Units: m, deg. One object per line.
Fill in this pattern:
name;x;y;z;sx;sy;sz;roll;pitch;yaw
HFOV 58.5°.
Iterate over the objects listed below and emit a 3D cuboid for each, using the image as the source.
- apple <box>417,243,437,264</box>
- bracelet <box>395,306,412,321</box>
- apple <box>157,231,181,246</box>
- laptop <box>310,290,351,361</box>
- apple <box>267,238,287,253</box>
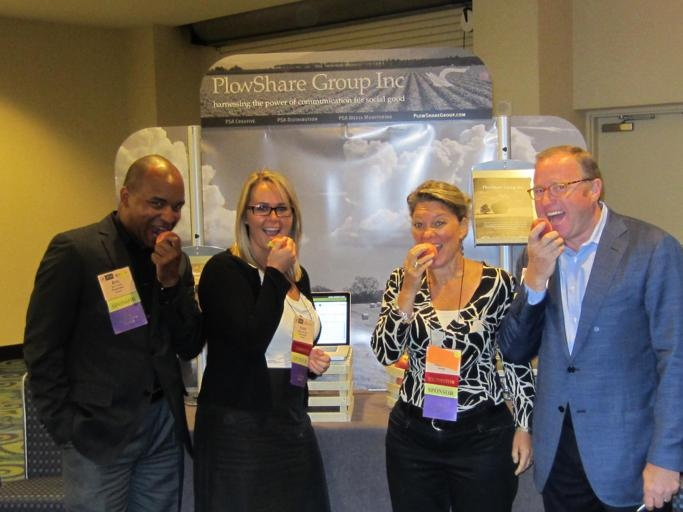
apple;0.354;-0.012;2.493;0.066;0.061;0.065;-3;-12;8
bracelet;0.259;0.243;2.526;0.046;0.057;0.053;10;-33;-35
apple;-0.721;-0.076;2.520;0.093;0.046;0.107;-3;6;-17
laptop;-0.042;0.395;3.488;0.377;0.347;0.303;1;-1;1
apple;-0.267;-0.042;2.495;0.061;0.021;0.045;-21;6;-10
